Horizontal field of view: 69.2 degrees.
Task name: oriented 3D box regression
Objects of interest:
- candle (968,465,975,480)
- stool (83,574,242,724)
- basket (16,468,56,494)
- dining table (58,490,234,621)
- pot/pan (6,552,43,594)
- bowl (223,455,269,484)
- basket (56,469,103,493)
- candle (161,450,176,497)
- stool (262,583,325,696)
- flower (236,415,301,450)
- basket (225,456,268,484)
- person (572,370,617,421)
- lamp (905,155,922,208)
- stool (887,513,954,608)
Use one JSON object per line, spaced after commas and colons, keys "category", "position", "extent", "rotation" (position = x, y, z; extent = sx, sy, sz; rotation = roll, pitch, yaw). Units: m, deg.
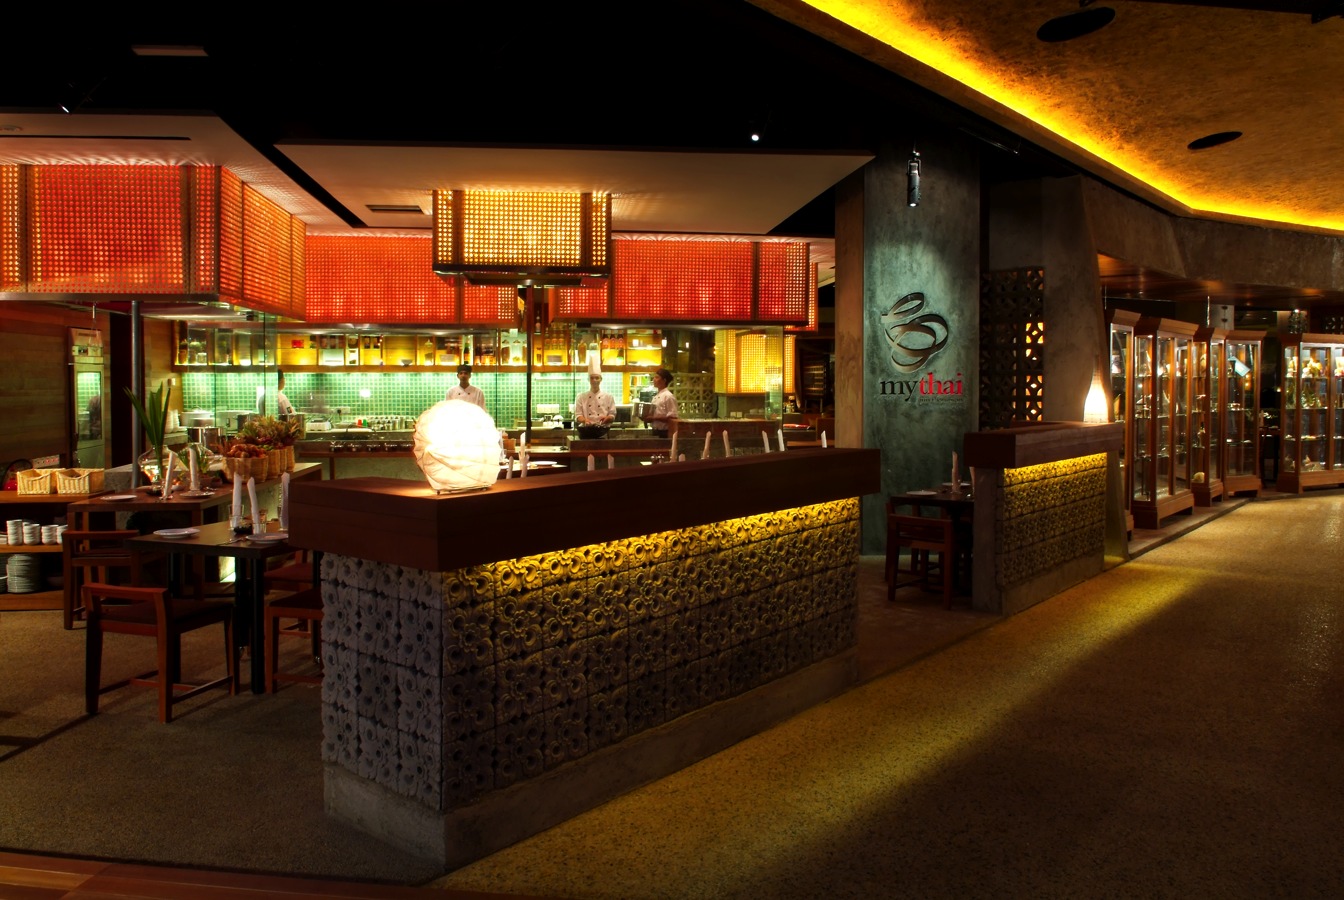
{"category": "candle", "position": [2.548, 0.195, 8.226], "extent": [0.027, 0.117, 0.029], "rotation": [-1, 10, -5]}
{"category": "stool", "position": [-3.397, 1.302, 6.554], "extent": [0.903, 0.876, 0.884], "rotation": [-1, 4, -26]}
{"category": "basket", "position": [-5.632, 0.262, 8.627], "extent": [0.247, 0.167, 0.241], "rotation": [1, 0, -25]}
{"category": "dining table", "position": [-4.493, 0.955, 8.517], "extent": [1.224, 1.137, 1.189], "rotation": [0, 3, -2]}
{"category": "pot/pan", "position": [-5.680, 1.076, 8.543], "extent": [0.329, 0.327, 0.334], "rotation": [-1, -4, 21]}
{"category": "bowl", "position": [-3.835, 0.144, 8.789], "extent": [0.500, 0.292, 0.486], "rotation": [-1, 0, 0]}
{"category": "basket", "position": [-5.271, 0.273, 8.714], "extent": [0.216, 0.130, 0.287], "rotation": [0, 1, 2]}
{"category": "candle", "position": [-4.249, 0.180, 8.232], "extent": [0.114, 0.362, 0.282], "rotation": [-5, 12, -27]}
{"category": "stool", "position": [-2.670, 1.383, 6.833], "extent": [0.445, 0.523, 0.582], "rotation": [2, -9, -34]}
{"category": "flower", "position": [-3.749, -0.176, 9.044], "extent": [0.430, 0.258, 0.391], "rotation": [-1, 2, -22]}
{"category": "basket", "position": [-3.751, 0.153, 8.598], "extent": [0.253, 0.152, 0.248], "rotation": [-2, -2, 31]}
{"category": "person", "position": [-1.049, -0.753, 13.448], "extent": [0.744, 0.942, 0.609], "rotation": [0, -1, -5]}
{"category": "lamp", "position": [2.449, -2.775, 9.828], "extent": [0.186, 0.540, 0.762], "rotation": [2, 11, 13]}
{"category": "stool", "position": [2.345, 0.902, 9.112], "extent": [0.609, 0.917, 1.619], "rotation": [3, 11, 15]}
